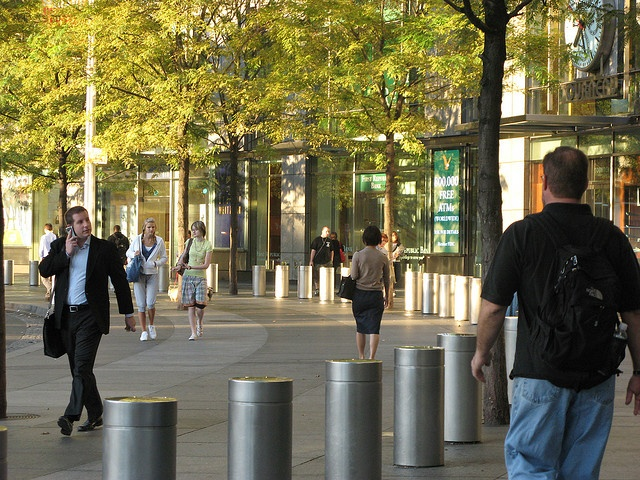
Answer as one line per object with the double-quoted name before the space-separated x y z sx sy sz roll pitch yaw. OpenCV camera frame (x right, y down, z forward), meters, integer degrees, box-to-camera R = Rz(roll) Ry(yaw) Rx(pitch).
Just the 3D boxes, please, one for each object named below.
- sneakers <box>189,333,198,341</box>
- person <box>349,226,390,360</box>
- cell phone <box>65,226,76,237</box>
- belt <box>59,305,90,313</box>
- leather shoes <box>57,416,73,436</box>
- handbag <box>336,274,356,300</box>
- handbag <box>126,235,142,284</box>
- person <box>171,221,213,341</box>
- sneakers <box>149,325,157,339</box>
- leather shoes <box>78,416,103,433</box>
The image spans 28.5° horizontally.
"sneakers" -2.327 1.764 23.095 0.107 0.124 0.293 0 -5 0
"person" 0.758 0.777 19.078 0.606 1.963 0.523 -2 1 -1
"cell phone" -3.268 -0.120 16.522 0.096 0.134 0.040 4 8 32
"belt" -3.194 0.890 16.485 0.337 0.078 0.065 -2 1 15
"leather shoes" -3.248 2.359 16.117 0.124 0.292 0.122 6 33 22
"handbag" 0.369 0.717 19.132 0.278 0.356 0.508 -2 1 -19
"handbag" -3.335 0.359 22.643 0.267 0.569 0.482 -2 1 -9
"person" -2.345 0.740 23.278 0.675 1.475 1.016 -2 1 -7
"sneakers" -3.082 1.659 23.247 0.104 0.126 0.308 -2 29 -13
"leather shoes" -2.989 2.406 16.523 0.496 0.209 0.165 -2 -6 -40
